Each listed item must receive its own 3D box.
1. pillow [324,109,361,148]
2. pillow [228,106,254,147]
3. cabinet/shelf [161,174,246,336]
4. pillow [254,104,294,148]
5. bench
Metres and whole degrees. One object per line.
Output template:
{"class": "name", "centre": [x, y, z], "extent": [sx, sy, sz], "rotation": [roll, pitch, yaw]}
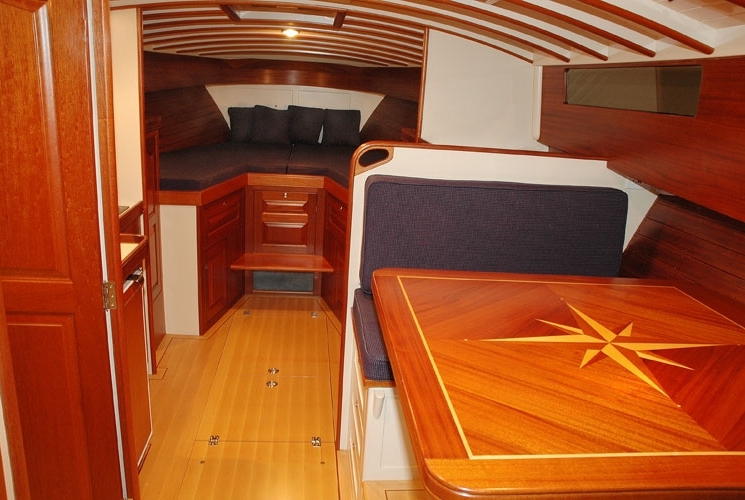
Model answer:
{"class": "pillow", "centre": [-0.354, -1.382, 6.406], "extent": [0.454, 0.179, 0.385], "rotation": [-1, -97, -5]}
{"class": "pillow", "centre": [-1.481, -1.378, 6.389], "extent": [0.404, 0.111, 0.331], "rotation": [2, -95, -6]}
{"class": "cabinet/shelf", "centre": [-1.409, 0.045, 4.590], "extent": [0.499, 1.140, 0.983], "rotation": [2, -67, -4]}
{"class": "pillow", "centre": [-1.133, -1.368, 6.345], "extent": [0.406, 0.348, 0.314], "rotation": [5, -55, -12]}
{"class": "bench", "centre": [0.744, 0.204, 2.728], "extent": [1.574, 0.857, 0.927], "rotation": [-1, -73, -24]}
